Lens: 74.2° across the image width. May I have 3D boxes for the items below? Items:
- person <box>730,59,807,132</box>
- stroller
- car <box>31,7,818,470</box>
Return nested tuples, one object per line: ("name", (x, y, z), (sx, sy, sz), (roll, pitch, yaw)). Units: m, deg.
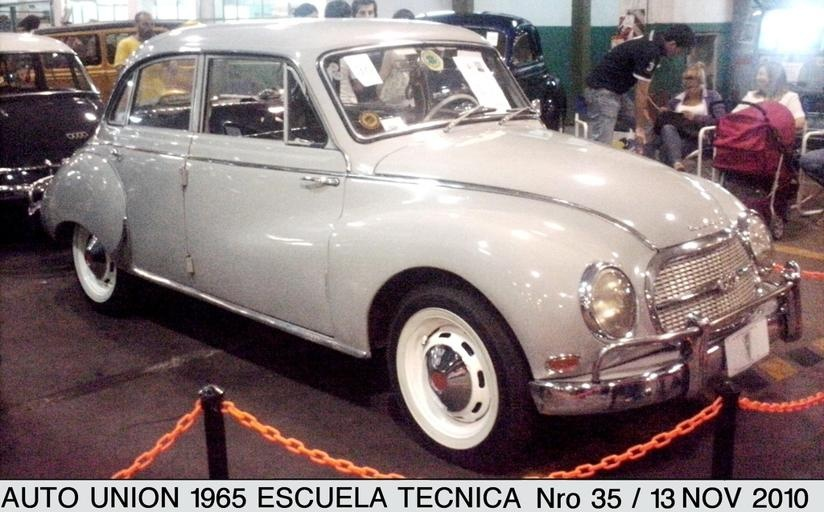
("person", (4.829, -2.140, 7.414), (1.045, 0.866, 0.617), (-6, 1, 10))
("stroller", (4.062, -1.129, 6.582), (0.946, 1.397, 1.285), (7, 13, 42))
("car", (-0.760, -0.532, 4.727), (6.134, 2.093, 2.636), (14, 21, 34))
